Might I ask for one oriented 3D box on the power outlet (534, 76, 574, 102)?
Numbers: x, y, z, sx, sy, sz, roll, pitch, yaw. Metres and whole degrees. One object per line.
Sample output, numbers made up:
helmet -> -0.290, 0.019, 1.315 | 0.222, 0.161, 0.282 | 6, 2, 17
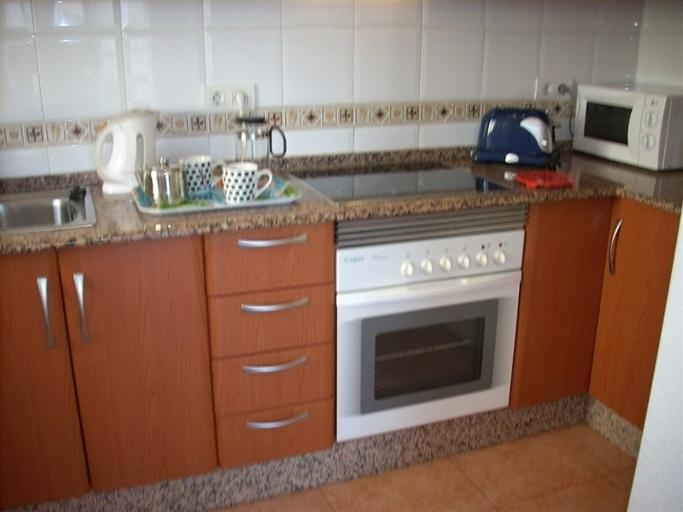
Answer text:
power outlet -> 1.007, -0.803, 2.551 | 0.173, 0.106, 0.041 | -5, 10, -15

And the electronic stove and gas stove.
electronic stove and gas stove -> 0.283, -0.125, 2.055 | 0.751, 0.360, 0.423 | -10, 20, -15

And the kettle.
kettle -> -0.752, -0.370, 1.886 | 0.172, 0.349, 0.193 | -4, 22, -23
